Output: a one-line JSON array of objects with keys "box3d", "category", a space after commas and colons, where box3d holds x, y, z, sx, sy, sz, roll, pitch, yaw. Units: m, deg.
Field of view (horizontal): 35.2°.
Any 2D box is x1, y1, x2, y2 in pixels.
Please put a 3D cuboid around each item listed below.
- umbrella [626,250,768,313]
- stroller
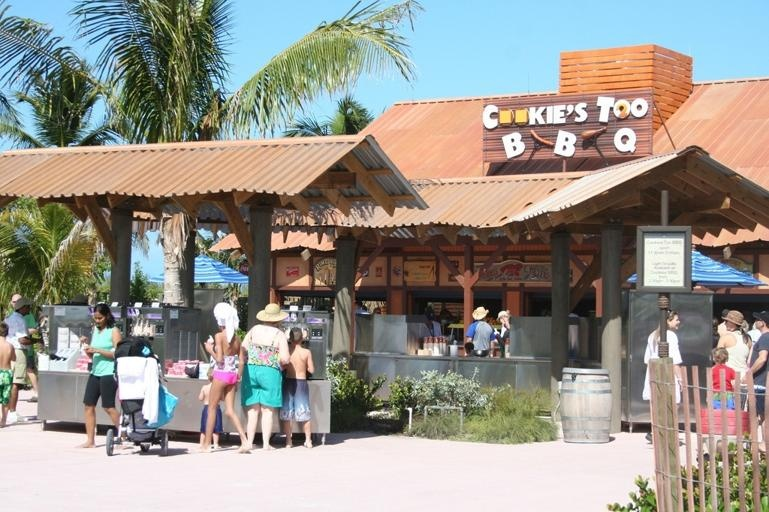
[{"box3d": [8.193, 0.395, 30.071, 2.286, 0.774, 2.191, 0, 1, -1], "category": "umbrella"}, {"box3d": [-4.336, 2.424, 21.727, 1.029, 1.978, 0.696, 4, -9, -14], "category": "stroller"}]
